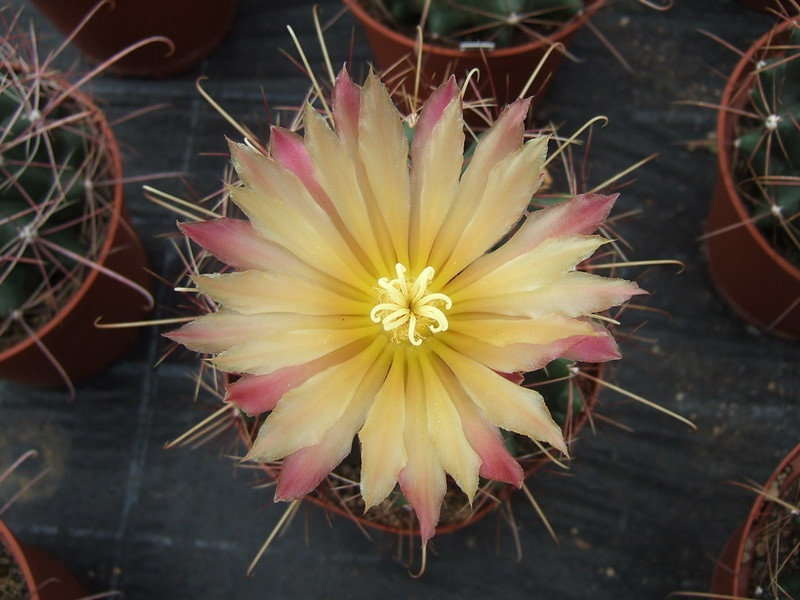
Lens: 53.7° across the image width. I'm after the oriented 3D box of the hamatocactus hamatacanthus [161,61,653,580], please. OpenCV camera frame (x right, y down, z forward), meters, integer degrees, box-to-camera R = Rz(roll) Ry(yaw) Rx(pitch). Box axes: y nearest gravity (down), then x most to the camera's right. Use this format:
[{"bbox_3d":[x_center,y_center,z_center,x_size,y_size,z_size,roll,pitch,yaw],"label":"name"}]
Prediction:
[{"bbox_3d":[-0.050,-0.056,1.329,0.271,0.620,0.645,27,50,32],"label":"hamatocactus hamatacanthus"}]
